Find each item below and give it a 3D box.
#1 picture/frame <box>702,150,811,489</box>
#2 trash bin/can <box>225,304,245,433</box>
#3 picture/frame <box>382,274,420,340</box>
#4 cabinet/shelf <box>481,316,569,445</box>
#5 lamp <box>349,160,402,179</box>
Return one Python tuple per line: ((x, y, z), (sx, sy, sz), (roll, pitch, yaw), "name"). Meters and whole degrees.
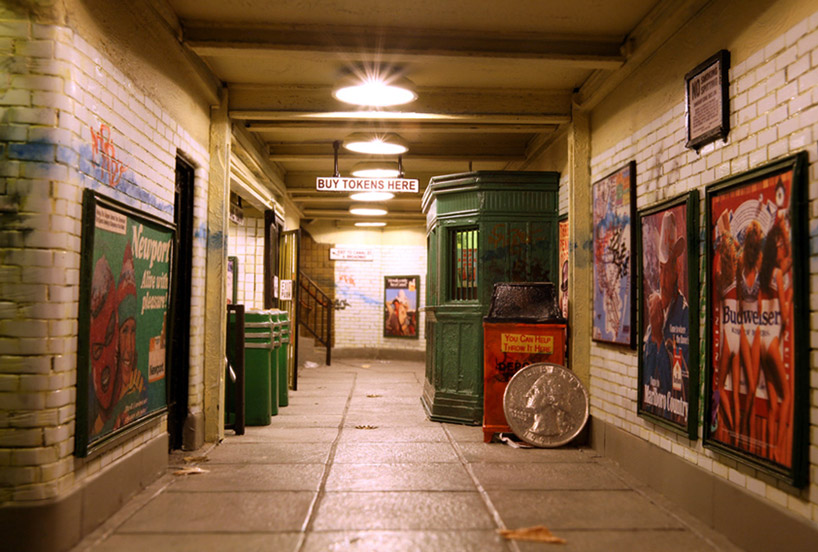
((2.967, 0.300, 5.875), (0.230, 2.624, 1.061), (-1, 5, -19), "picture/frame")
((-2.275, 1.199, 9.105), (0.241, 1.652, 0.626), (-1, 4, -15), "trash bin/can")
((-0.137, 0.792, 18.359), (1.240, 1.684, 0.387), (4, 5, 38), "picture/frame")
((1.613, 1.272, 8.946), (1.265, 1.923, 1.337), (1, -3, -5), "cabinet/shelf")
((-0.577, -1.749, 11.406), (0.679, 0.335, 1.035), (2, 4, 18), "lamp")
